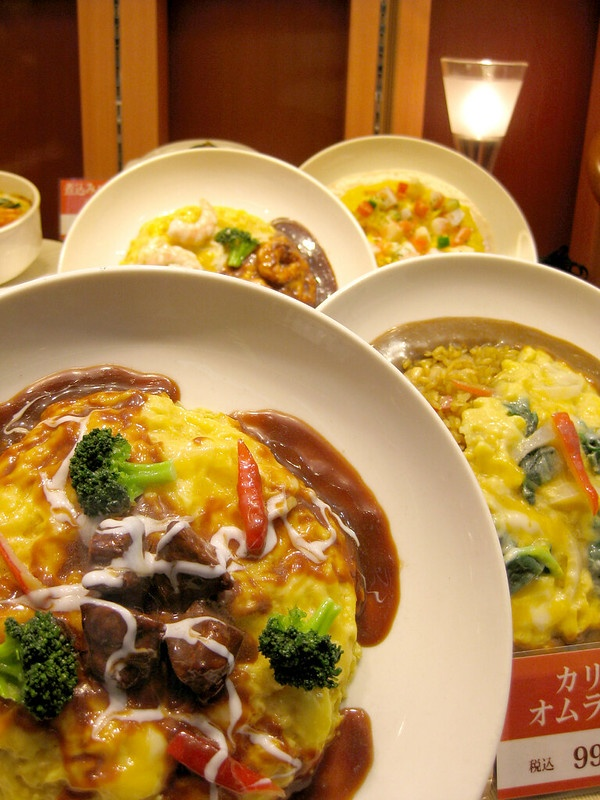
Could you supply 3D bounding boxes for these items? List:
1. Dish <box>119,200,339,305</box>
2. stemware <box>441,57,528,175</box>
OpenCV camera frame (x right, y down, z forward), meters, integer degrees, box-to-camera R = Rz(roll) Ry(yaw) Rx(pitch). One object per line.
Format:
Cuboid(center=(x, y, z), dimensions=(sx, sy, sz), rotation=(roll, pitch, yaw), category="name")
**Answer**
Cuboid(center=(-0.220, -0.591, 2.733), dimensions=(0.725, 0.165, 0.495), rotation=(22, 62, 1), category="Dish")
Cuboid(center=(0.707, -1.148, 2.790), dimensions=(0.309, 0.396, 0.404), rotation=(6, 20, 8), category="stemware")
